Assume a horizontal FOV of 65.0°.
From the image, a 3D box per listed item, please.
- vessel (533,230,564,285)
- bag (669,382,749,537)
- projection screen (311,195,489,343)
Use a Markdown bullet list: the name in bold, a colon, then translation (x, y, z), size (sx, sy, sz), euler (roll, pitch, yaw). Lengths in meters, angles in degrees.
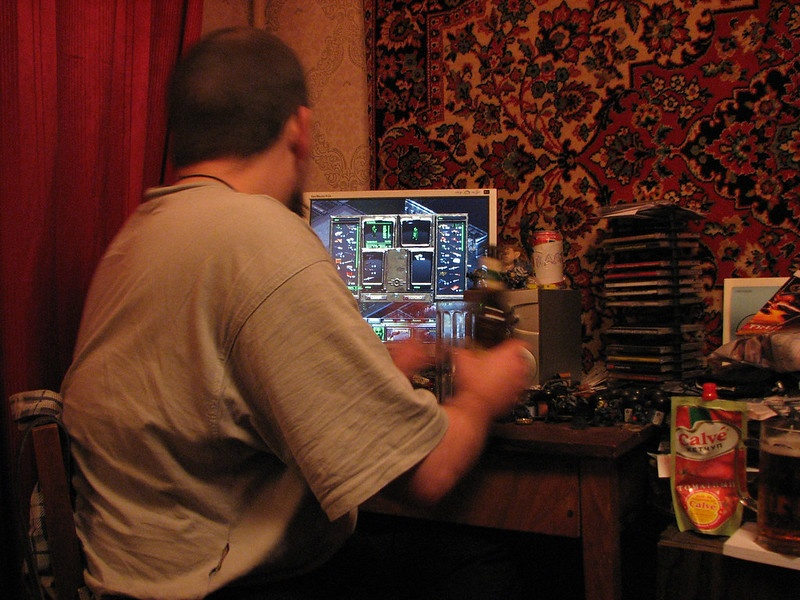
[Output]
- **vessel**: translation (0.447, -0.125, 1.901), size (0.092, 0.171, 0.079), euler (-1, 3, 11)
- **bag**: translation (0.630, 0.326, 1.278), size (0.139, 0.301, 0.057), euler (0, 4, 23)
- **projection screen**: translation (0.033, -0.105, 1.950), size (0.574, 0.452, 0.125), euler (-4, -9, 7)
